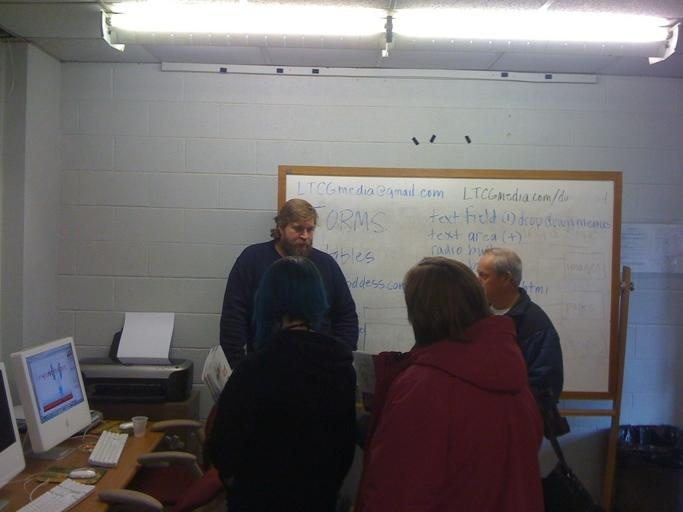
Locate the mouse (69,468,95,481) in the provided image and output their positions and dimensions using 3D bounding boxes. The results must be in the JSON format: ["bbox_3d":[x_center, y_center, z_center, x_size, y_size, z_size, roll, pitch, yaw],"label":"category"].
[{"bbox_3d":[-1.240,1.040,2.833,0.077,0.021,0.057,3,2,-4],"label":"mouse"}]

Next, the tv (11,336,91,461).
[{"bbox_3d":[-1.469,0.742,2.990,0.203,0.586,0.504,-10,4,12],"label":"tv"}]

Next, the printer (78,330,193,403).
[{"bbox_3d":[-1.292,0.712,3.764,0.610,0.389,0.456,3,-2,-9],"label":"printer"}]

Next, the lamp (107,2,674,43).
[{"bbox_3d":[0.243,-1.272,3.214,3.023,0.170,0.183,0,2,-1],"label":"lamp"}]

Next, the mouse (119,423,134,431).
[{"bbox_3d":[-1.161,0.919,3.187,0.053,0.015,0.053,1,3,-8],"label":"mouse"}]

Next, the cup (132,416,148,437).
[{"bbox_3d":[-1.084,0.921,3.201,0.098,0.095,0.086,-2,-4,32],"label":"cup"}]
